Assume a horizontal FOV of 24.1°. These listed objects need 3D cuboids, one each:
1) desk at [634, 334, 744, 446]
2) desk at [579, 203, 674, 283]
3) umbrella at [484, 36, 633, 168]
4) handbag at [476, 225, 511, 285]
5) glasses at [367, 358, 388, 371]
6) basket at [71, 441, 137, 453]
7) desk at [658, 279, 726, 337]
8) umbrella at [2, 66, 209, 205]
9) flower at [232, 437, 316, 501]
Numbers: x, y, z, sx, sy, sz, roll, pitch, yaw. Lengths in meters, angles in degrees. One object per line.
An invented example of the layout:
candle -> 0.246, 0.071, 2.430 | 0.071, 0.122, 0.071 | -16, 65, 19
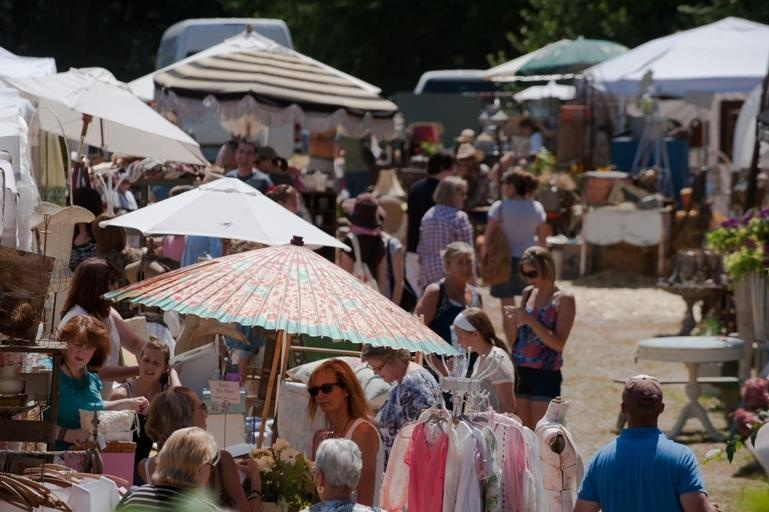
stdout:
desk -> 4.639, 1.952, 26.556 | 1.467, 1.325, 1.416 | 0, 5, 28
desk -> 4.505, -0.092, 32.583 | 1.513, 1.469, 1.189 | 4, 6, 26
umbrella -> 3.760, -2.910, 37.479 | 3.357, 2.828, 3.317 | -10, 11, -25
handbag -> 1.707, 0.053, 27.146 | 0.550, 0.971, 0.365 | 2, -9, 5
glasses -> -0.094, 1.383, 23.106 | 0.166, 0.054, 0.174 | 2, -31, 49
basket -> -3.517, 2.375, 22.570 | 0.764, 0.140, 0.250 | 1, -4, 15
desk -> 4.896, 0.822, 28.693 | 0.929, 0.830, 1.268 | 1, -4, 1
umbrella -> -4.082, -2.586, 26.400 | 4.300, 2.101, 1.634 | 2, -21, -3
flower -> -1.247, 2.663, 22.330 | 0.812, 0.758, 0.211 | 2, -4, -4
